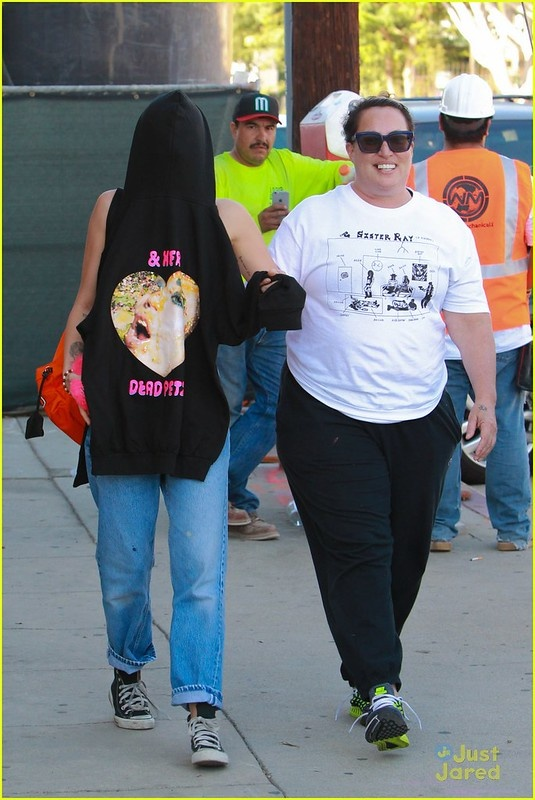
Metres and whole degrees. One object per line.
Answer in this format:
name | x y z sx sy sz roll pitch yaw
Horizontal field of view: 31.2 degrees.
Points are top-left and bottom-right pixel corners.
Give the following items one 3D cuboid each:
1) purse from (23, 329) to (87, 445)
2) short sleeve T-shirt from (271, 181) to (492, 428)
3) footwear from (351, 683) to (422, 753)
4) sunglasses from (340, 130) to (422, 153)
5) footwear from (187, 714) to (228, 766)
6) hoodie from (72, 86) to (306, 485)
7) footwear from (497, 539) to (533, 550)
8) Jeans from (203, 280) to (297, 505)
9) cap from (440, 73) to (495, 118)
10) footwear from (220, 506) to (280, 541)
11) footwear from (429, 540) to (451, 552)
purse | -0.639 -0.025 2.929 0.132 0.230 0.231 14 35 41
short sleeve T-shirt | 0.313 -0.311 2.955 0.819 0.669 0.403 -1 17 -14
footwear | 0.341 0.910 2.798 0.188 0.166 0.384 2 -12 3
sunglasses | 0.345 -0.780 2.895 0.190 0.073 0.155 2 14 4
footwear | -0.163 0.935 2.649 0.094 0.093 0.161 -2 14 -8
hoodie | -0.262 -0.316 2.711 0.559 1.083 0.487 -13 21 -40
footwear | 1.368 0.793 5.339 0.126 0.038 0.078 -1 2 -8
Jeans | -0.038 -0.021 5.437 0.380 1.400 0.464 9 -11 -7
cap | 1.033 -1.578 4.944 0.234 0.140 0.272 9 22 9
footwear | -0.119 0.701 5.529 0.443 0.160 0.150 8 -3 20
footwear | 0.947 0.790 5.227 0.129 0.053 0.160 0 -4 -3
